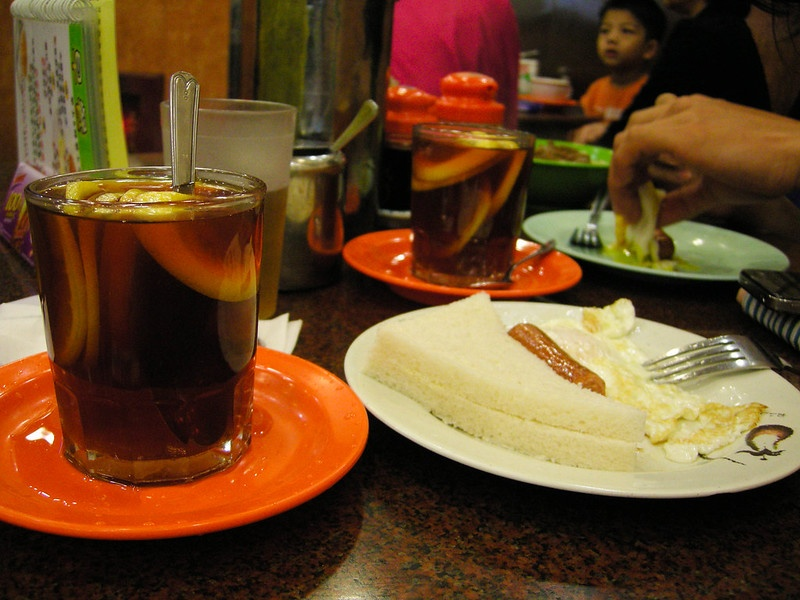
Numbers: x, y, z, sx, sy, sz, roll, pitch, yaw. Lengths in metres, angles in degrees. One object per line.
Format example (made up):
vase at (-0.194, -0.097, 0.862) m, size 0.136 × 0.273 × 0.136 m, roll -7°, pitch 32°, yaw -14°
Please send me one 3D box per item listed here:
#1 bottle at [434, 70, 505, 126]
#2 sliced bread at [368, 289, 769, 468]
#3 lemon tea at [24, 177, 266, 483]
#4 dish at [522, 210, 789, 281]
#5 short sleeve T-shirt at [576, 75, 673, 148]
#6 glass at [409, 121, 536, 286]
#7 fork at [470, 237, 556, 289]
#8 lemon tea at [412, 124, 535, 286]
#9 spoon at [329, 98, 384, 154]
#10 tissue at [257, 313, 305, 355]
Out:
bottle at (0.152, -0.458, 1.637) m, size 0.175 × 0.116 × 0.166 m, roll 2°, pitch 21°, yaw -1°
sliced bread at (0.204, 0.120, 0.956) m, size 0.312 × 0.069 × 0.295 m, roll 12°, pitch 9°, yaw 10°
lemon tea at (-0.291, 0.031, 0.860) m, size 0.271 × 0.306 × 0.256 m, roll 3°, pitch 10°, yaw 16°
dish at (0.666, -0.140, 1.801) m, size 0.362 × 0.046 × 0.347 m, roll 3°, pitch 15°, yaw -22°
short sleeve T-shirt at (1.149, -1.014, 3.775) m, size 0.400 × 0.241 × 0.615 m, roll 16°, pitch 36°, yaw -17°
glass at (0.088, -0.213, 1.449) m, size 0.310 × 0.329 × 0.295 m, roll -6°, pitch 17°, yaw -26°
fork at (0.246, -0.071, 1.504) m, size 0.075 × 0.050 × 0.355 m, roll 12°, pitch 25°, yaw 32°
lemon tea at (0.093, -0.213, 1.478) m, size 0.307 × 0.325 × 0.295 m, roll -7°, pitch 17°, yaw -28°
spoon at (-0.094, -0.339, 1.365) m, size 0.082 × 0.105 × 0.221 m, roll -1°, pitch 22°, yaw -5°
tissue at (-0.191, 0.052, 1.121) m, size 0.063 × 0.021 × 0.059 m, roll 13°, pitch 40°, yaw -1°
